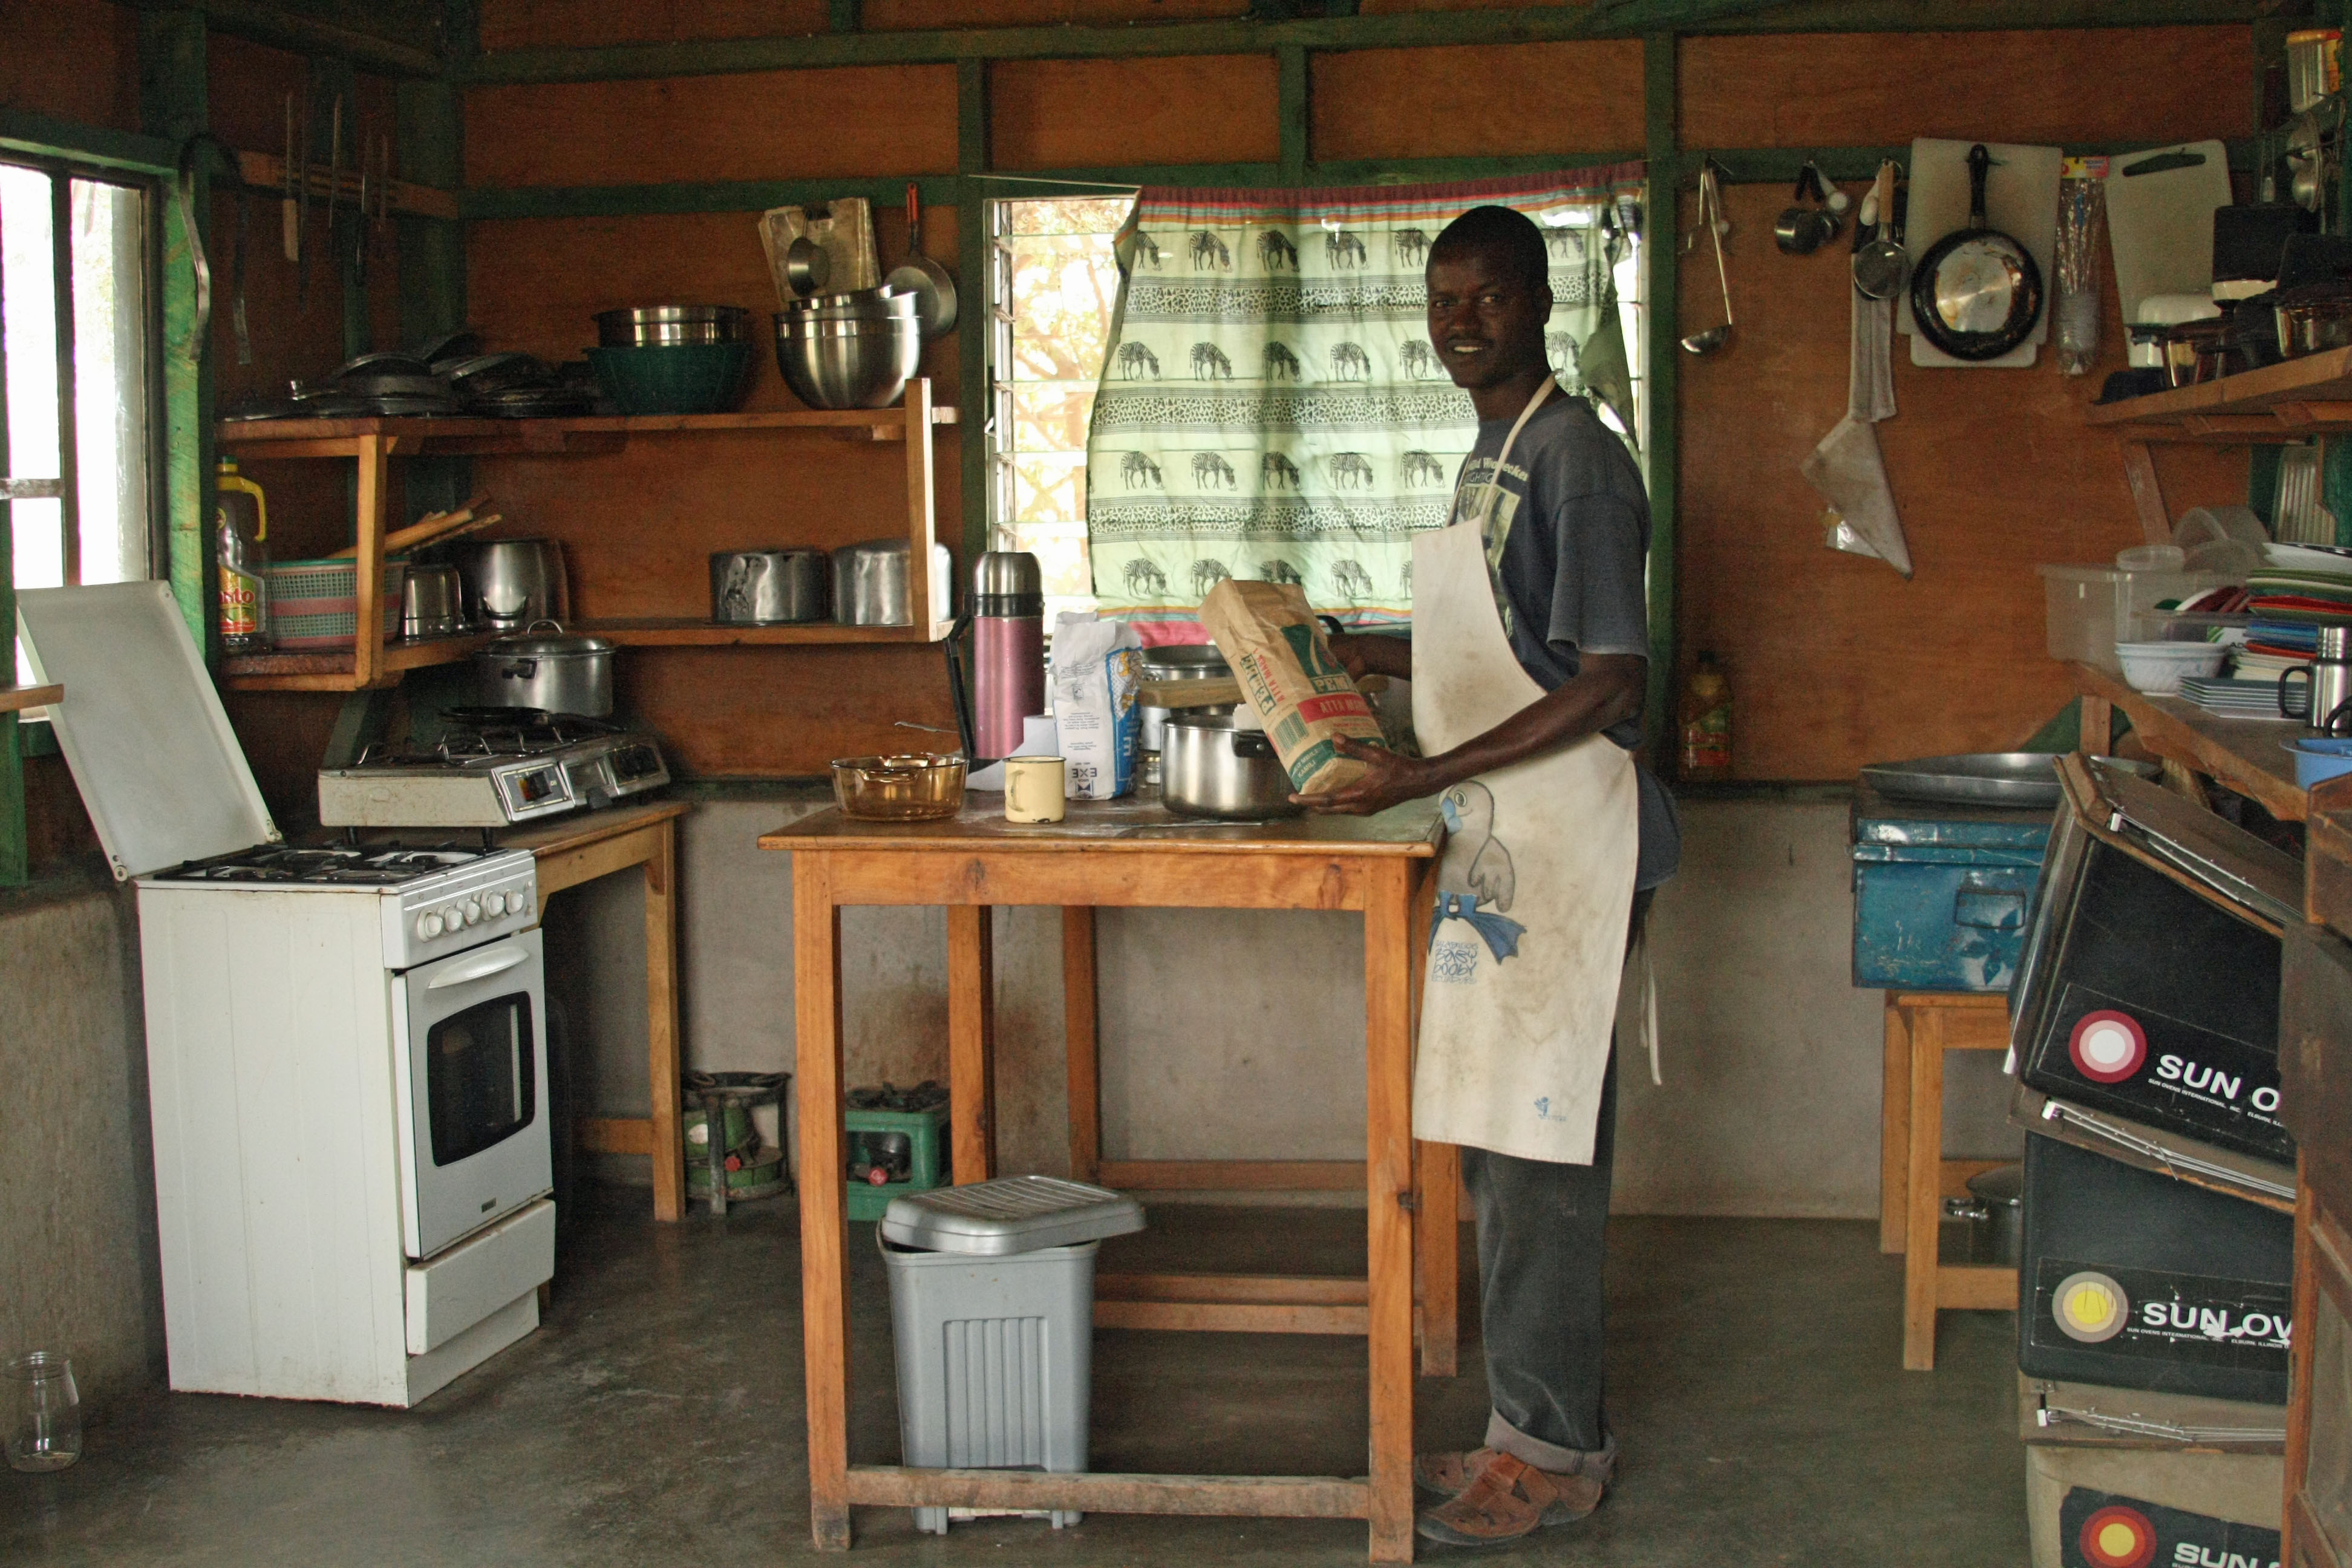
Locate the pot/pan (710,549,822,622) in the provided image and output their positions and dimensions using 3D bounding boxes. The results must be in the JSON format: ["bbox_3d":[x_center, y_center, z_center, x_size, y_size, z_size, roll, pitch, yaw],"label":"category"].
[{"bbox_3d":[-1.165,-0.554,6.398,0.235,0.141,0.227,4,5,28],"label":"pot/pan"}]

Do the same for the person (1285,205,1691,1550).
[{"bbox_3d":[0.733,0.212,4.783,0.625,2.784,0.768,3,15,12],"label":"person"}]

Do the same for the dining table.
[{"bbox_3d":[-0.099,0.616,5.603,1.525,1.762,1.958,1,5,6],"label":"dining table"}]

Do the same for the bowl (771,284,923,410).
[{"bbox_3d":[-0.917,-1.209,6.260,0.366,0.249,0.324,-1,2,-10],"label":"bowl"}]

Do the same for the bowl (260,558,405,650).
[{"bbox_3d":[-2.255,-0.481,5.954,0.268,0.174,0.271,1,3,0],"label":"bowl"}]

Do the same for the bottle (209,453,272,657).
[{"bbox_3d":[-2.489,-0.610,5.962,0.119,0.499,0.191,-4,16,-13],"label":"bottle"}]

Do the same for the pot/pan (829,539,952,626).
[{"bbox_3d":[-0.842,-0.564,6.403,0.273,0.185,0.266,-3,6,-30],"label":"pot/pan"}]

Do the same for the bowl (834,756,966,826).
[{"bbox_3d":[-0.611,0.015,4.932,0.192,0.084,0.176,1,2,0],"label":"bowl"}]

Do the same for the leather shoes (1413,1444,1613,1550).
[{"bbox_3d":[0.707,1.559,4.889,0.302,0.107,0.216,1,1,-15],"label":"leather shoes"}]

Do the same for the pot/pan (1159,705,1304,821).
[{"bbox_3d":[0.092,-0.038,4.892,0.211,0.168,0.270,0,8,-9],"label":"pot/pan"}]

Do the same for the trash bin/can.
[{"bbox_3d":[-0.341,1.262,5.123,0.723,0.723,0.668,0,4,4],"label":"trash bin/can"}]

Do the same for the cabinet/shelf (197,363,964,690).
[{"bbox_3d":[-1.762,-0.750,6.388,1.420,0.594,1.073,-1,2,-1],"label":"cabinet/shelf"}]

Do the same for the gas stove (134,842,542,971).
[{"bbox_3d":[-2.072,0.309,5.566,0.878,0.222,0.892,3,5,33],"label":"gas stove"}]

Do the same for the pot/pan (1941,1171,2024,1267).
[{"bbox_3d":[2.034,1.094,5.674,0.207,0.217,0.294,1,-1,-5],"label":"pot/pan"}]

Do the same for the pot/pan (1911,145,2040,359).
[{"bbox_3d":[2.180,-1.426,6.079,0.355,0.561,0.075,1,11,5],"label":"pot/pan"}]

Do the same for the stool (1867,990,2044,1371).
[{"bbox_3d":[1.963,0.904,5.710,0.357,0.904,0.877,4,16,18],"label":"stool"}]

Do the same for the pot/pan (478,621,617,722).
[{"bbox_3d":[-1.765,-0.310,6.312,0.280,0.249,0.293,2,2,28],"label":"pot/pan"}]

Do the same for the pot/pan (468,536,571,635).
[{"bbox_3d":[-1.912,-0.574,6.472,0.267,0.240,0.261,-2,4,-30],"label":"pot/pan"}]

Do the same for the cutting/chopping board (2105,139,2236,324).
[{"bbox_3d":[2.633,-1.474,5.984,0.314,0.471,0.192,4,16,18],"label":"cutting/chopping board"}]

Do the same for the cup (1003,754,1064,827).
[{"bbox_3d":[-0.311,0.016,4.891,0.147,0.128,0.116,-1,3,-14],"label":"cup"}]
